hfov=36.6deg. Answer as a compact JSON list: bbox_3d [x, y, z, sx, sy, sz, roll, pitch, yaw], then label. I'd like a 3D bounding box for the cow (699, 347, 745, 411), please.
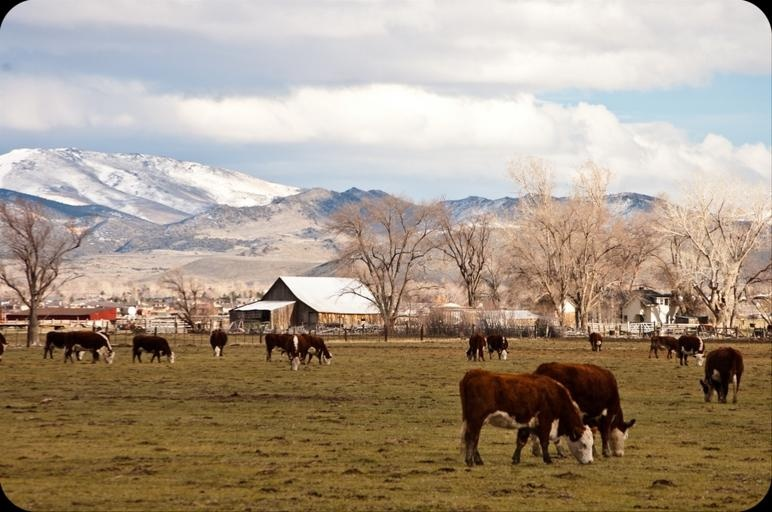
[{"bbox_3d":[17.203,5.943,59.744,1.819,2.779,2.165,1,5,15],"label":"cow"}]

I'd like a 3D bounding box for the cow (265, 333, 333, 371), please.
[{"bbox_3d":[-6.431,5.898,74.639,6.441,2.841,1.685,-2,0,17],"label":"cow"}]

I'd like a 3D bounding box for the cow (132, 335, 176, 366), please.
[{"bbox_3d":[-15.176,5.930,75.744,2.459,1.733,4.602,-1,5,-12],"label":"cow"}]
